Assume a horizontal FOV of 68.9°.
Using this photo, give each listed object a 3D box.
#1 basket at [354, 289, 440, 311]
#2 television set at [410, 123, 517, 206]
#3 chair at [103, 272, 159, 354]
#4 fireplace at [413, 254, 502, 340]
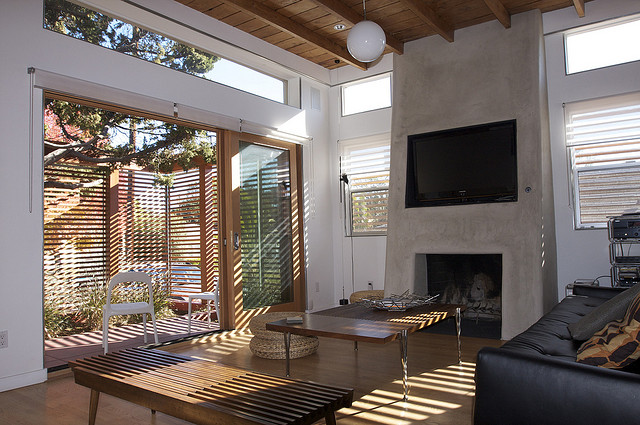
[{"bbox_3d":[0.841,0.912,5.219,0.750,0.226,0.832,1,0,18],"label":"basket"},{"bbox_3d":[1.921,-0.635,6.100,1.892,1.084,0.085,-2,-3,38],"label":"television set"},{"bbox_3d":[-2.424,1.206,5.811,0.681,0.949,0.635,2,-8,-42],"label":"chair"},{"bbox_3d":[1.940,1.096,6.389,0.944,1.023,1.296,2,-1,12],"label":"fireplace"}]
